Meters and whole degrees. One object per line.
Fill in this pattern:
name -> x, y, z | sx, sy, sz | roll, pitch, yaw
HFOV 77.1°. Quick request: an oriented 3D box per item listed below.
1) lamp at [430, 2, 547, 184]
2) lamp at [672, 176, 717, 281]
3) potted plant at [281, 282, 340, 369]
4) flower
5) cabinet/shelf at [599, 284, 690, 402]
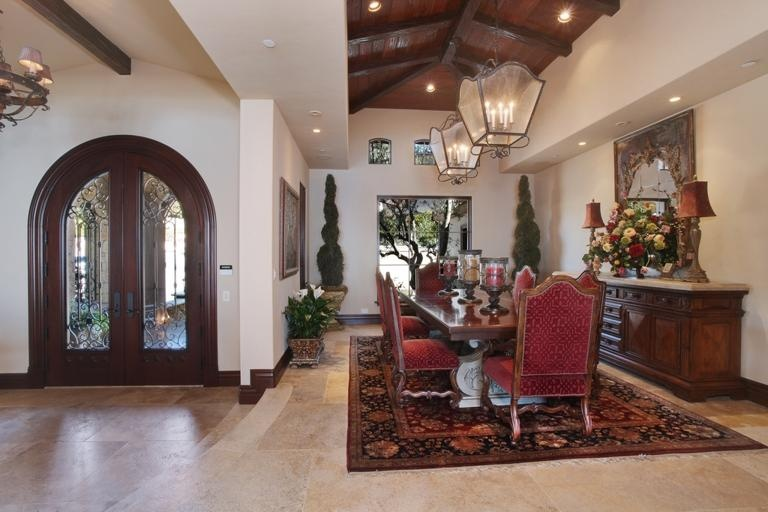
lamp -> 1.532, -2.499, 7.014 | 0.854, 2.414, 2.419 | 1, -2, -8
lamp -> 3.926, -0.308, 6.135 | 0.418, 1.417, 0.634 | -3, -1, 30
potted plant -> -1.069, 1.027, 7.189 | 0.694, 1.013, 0.947 | 3, 3, -7
flower -> 3.523, -0.258, 6.917 | 0.964, 0.901, 0.968 | -1, -4, 9
cabinet/shelf -> 3.325, 1.118, 6.108 | 0.480, 0.843, 1.382 | 2, 1, -5
